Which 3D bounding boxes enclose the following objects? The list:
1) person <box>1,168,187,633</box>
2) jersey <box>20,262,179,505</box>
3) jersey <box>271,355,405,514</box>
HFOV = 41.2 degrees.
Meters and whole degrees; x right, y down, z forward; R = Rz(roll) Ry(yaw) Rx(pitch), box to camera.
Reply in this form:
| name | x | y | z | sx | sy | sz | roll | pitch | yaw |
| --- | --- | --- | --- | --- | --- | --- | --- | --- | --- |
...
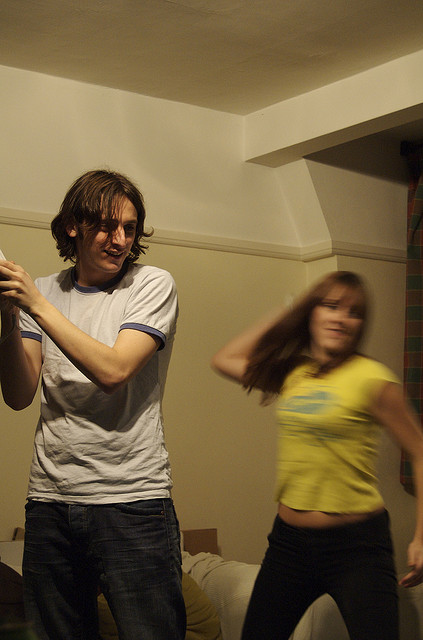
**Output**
| name | x | y | z | sx | sy | sz | roll | pitch | yaw |
| --- | --- | --- | --- | --- | --- | --- | --- | --- | --- |
| person | -0.235 | 0.132 | 1.093 | 0.343 | 0.702 | 0.363 | -1 | 0 | -5 |
| jersey | -0.236 | 0.108 | 1.073 | 0.322 | 0.357 | 0.233 | -1 | 0 | 8 |
| jersey | 0.271 | 0.247 | 1.264 | 0.205 | 0.318 | 0.363 | 2 | -4 | -36 |
